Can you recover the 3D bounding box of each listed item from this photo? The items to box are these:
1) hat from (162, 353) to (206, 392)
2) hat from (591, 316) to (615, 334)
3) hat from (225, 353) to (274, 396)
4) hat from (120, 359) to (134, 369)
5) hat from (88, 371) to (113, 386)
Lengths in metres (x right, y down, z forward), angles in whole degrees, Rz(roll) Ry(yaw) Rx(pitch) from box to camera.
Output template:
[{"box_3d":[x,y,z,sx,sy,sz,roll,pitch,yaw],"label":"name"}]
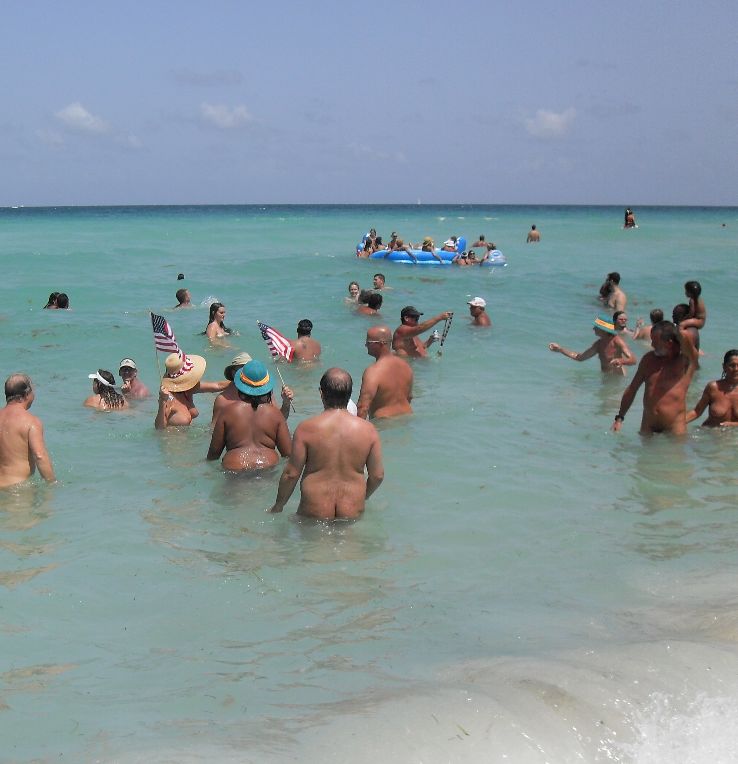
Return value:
[{"box_3d":[-2.213,-0.130,11.009,0.502,0.441,0.208,-7,-26,27],"label":"hat"},{"box_3d":[3.444,-0.816,13.823,0.346,0.079,0.302,-1,28,-37],"label":"hat"},{"box_3d":[-1.071,-0.014,8.732,0.332,0.363,0.241,-3,15,-9],"label":"hat"},{"box_3d":[-3.331,-0.237,12.849,0.230,0.156,0.301,-1,-2,-3],"label":"hat"},{"box_3d":[-3.697,-0.030,12.940,0.292,0.068,0.182,22,6,-5],"label":"hat"}]
